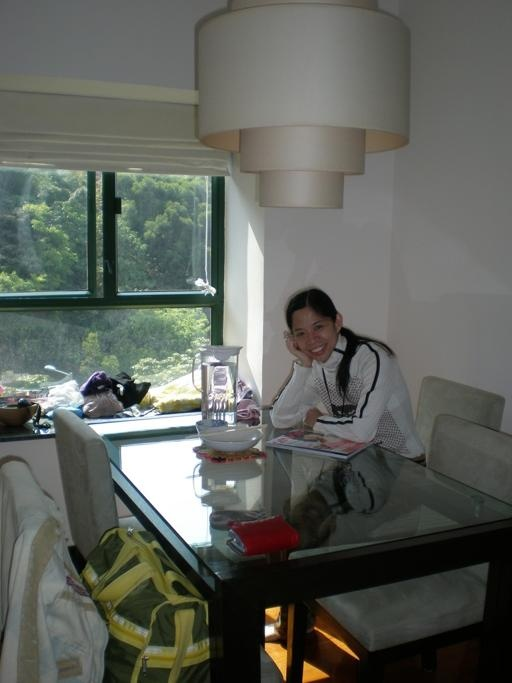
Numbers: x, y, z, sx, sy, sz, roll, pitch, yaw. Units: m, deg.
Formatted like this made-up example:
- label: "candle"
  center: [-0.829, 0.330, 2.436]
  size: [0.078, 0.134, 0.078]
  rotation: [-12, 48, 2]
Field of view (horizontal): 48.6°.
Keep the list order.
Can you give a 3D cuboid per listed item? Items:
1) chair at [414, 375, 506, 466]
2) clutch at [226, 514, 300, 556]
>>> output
- label: "chair"
  center: [0.670, 0.266, 1.870]
  size: [0.212, 0.375, 0.215]
  rotation: [12, 1, 36]
- label: "clutch"
  center: [0.007, 0.365, 1.081]
  size: [0.129, 0.033, 0.136]
  rotation: [-3, 6, -15]
